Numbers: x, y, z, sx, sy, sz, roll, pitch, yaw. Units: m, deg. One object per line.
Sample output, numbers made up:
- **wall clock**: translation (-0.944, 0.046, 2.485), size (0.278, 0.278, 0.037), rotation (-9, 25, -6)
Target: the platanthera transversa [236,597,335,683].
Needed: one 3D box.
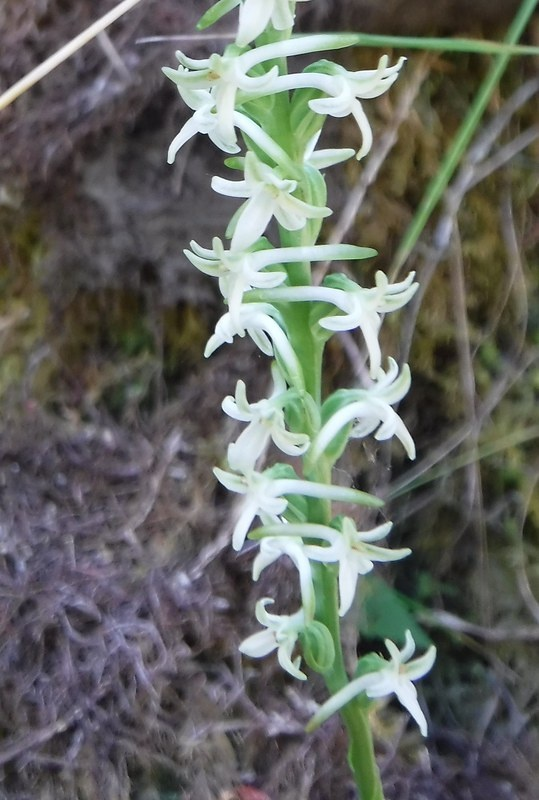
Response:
- **platanthera transversa**: translation (0.006, 0.187, 0.765), size (0.082, 0.026, 0.082), rotation (14, 91, 11)

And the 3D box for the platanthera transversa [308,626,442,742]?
- **platanthera transversa**: translation (0.092, 0.237, 0.780), size (0.114, 0.042, 0.087), rotation (-39, 81, -11)
